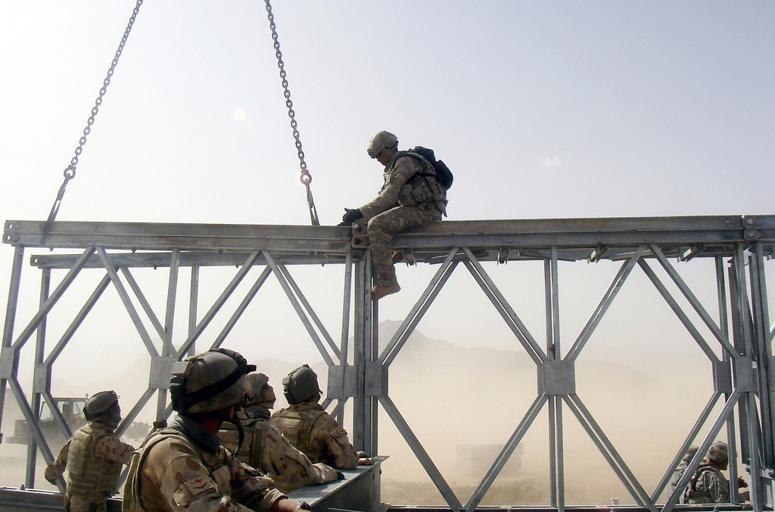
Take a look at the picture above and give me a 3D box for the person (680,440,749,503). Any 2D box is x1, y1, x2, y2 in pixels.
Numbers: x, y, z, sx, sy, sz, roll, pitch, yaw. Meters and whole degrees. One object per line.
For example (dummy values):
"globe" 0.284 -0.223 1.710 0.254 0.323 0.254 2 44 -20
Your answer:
"person" 5.374 3.747 17.627 0.821 1.126 0.571 -10 -30 14

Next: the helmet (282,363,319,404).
"helmet" -1.279 1.911 15.230 0.590 0.582 0.431 -13 0 -42
